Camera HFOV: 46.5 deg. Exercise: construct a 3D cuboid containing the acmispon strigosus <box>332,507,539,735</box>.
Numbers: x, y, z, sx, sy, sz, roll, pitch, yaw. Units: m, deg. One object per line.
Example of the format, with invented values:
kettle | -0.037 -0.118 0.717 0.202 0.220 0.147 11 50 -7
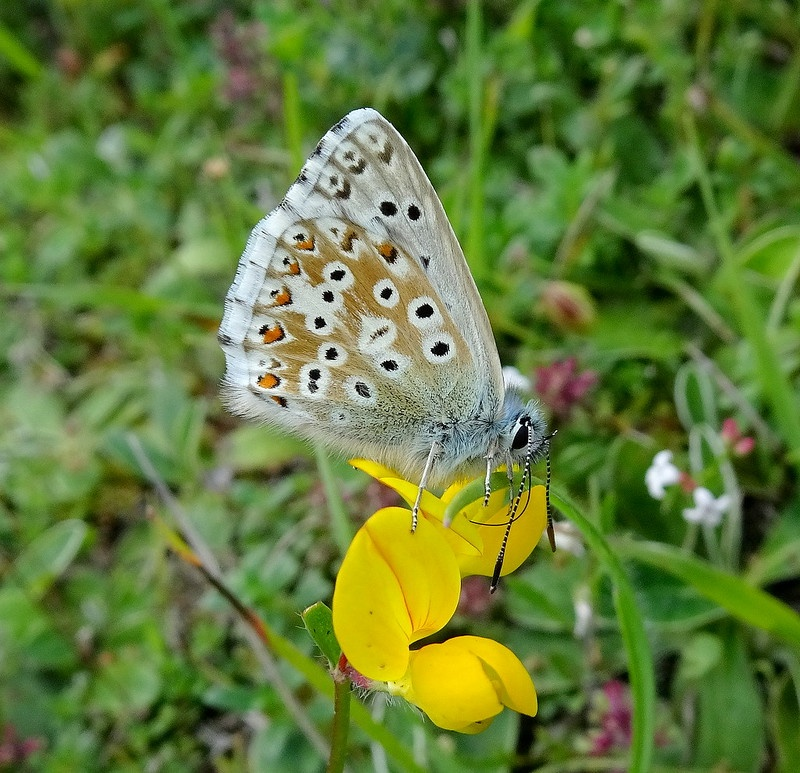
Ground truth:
acmispon strigosus | 0.020 0.409 1.606 0.185 0.400 0.396 -28 57 26
